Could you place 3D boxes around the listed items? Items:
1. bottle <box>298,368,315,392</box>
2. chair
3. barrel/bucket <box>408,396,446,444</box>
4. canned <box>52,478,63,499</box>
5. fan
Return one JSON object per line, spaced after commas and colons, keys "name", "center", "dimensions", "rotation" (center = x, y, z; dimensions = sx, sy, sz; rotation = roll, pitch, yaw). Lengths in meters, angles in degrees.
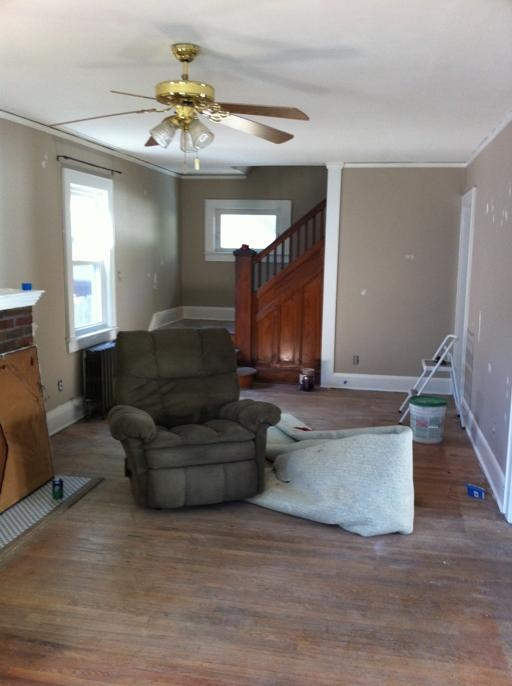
{"name": "bottle", "center": [0.545, 0.390, 6.106], "dimensions": [0.177, 0.221, 0.230], "rotation": [2, -6, -2]}
{"name": "chair", "center": [-0.409, 0.414, 3.496], "dimensions": [0.982, 0.953, 1.011], "rotation": [-1, 9, -13]}
{"name": "barrel/bucket", "center": [1.317, 0.570, 4.481], "dimensions": [0.384, 0.389, 0.373], "rotation": [-1, 9, 0]}
{"name": "canned", "center": [-1.178, 0.865, 3.315], "dimensions": [0.056, 0.113, 0.088], "rotation": [-4, 10, -25]}
{"name": "fan", "center": [-0.383, -1.249, 2.741], "dimensions": [0.842, 0.313, 0.818], "rotation": [-2, 5, -18]}
